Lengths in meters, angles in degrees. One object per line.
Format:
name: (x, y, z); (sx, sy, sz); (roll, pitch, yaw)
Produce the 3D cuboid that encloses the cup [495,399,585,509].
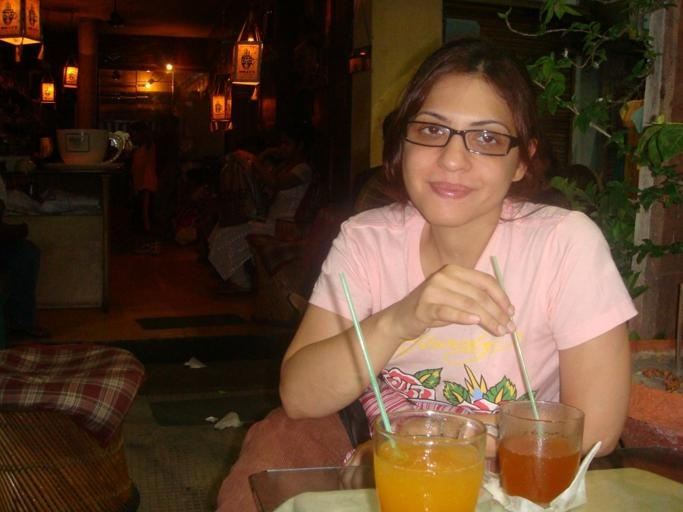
cup: (0.368, 0.372, 1.094); (0.180, 0.185, 0.145); (-1, 0, 17)
